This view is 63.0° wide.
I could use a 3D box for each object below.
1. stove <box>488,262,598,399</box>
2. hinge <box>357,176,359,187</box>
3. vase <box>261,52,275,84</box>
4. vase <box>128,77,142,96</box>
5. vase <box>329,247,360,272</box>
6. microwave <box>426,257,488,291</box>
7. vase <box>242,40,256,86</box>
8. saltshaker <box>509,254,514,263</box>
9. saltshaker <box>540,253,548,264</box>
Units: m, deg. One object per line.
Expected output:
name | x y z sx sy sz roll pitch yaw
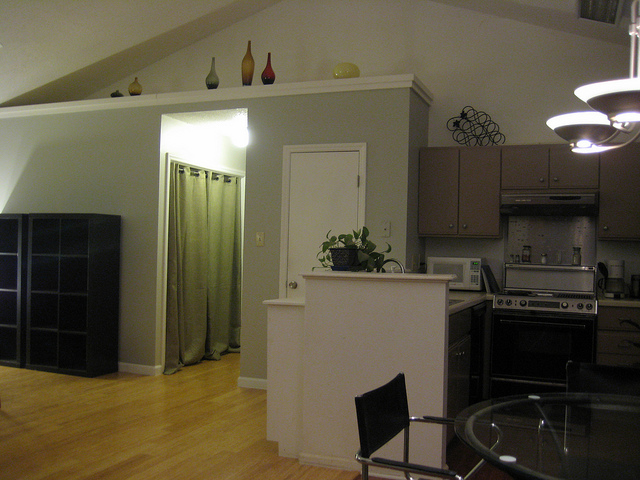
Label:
stove | 1.997 0.803 5.077 0.948 1.244 1.365 4 0 23
hinge | 0.357 -0.548 4.915 0.011 0.095 0.015 0 3 -6
vase | -0.537 -1.767 5.400 0.128 0.366 0.306 0 3 -7
vase | -2.098 -1.737 5.926 0.126 0.269 0.388 -1 3 -21
vase | 0.179 0.138 3.723 0.167 0.148 0.196 1 -5 6
microwave | 1.365 0.352 5.238 0.539 0.346 0.357 0 -5 26
vase | -0.748 -1.844 5.422 0.112 0.529 0.251 0 3 -6
saltshaker | 1.906 0.178 5.168 0.060 0.112 0.061 0 -5 23
saltshaker | 2.192 0.185 5.116 0.079 0.122 0.080 -1 -1 23
